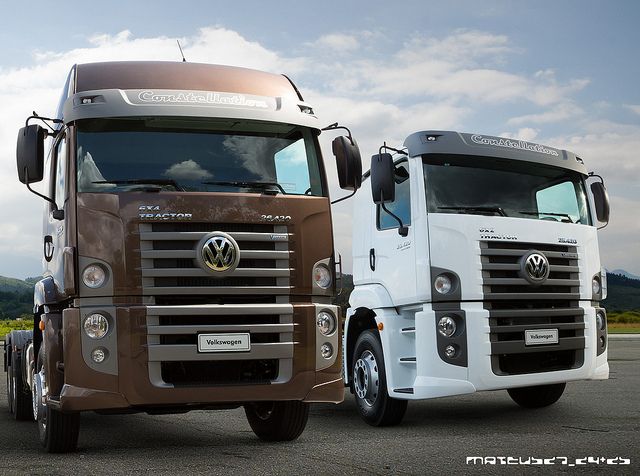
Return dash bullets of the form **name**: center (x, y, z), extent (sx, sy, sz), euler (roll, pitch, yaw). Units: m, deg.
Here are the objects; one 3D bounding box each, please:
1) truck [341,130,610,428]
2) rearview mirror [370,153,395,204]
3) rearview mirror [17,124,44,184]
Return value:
- **truck**: center (2.006, 1.011, 10.240), extent (4.168, 4.067, 7.168), euler (2, -9, -17)
- **rearview mirror**: center (0.843, -0.822, 6.777), extent (0.305, 0.637, 0.157), euler (-6, -5, 34)
- **rearview mirror**: center (-2.989, -0.860, 5.095), extent (0.234, 0.611, 0.216), euler (-2, -4, -25)
